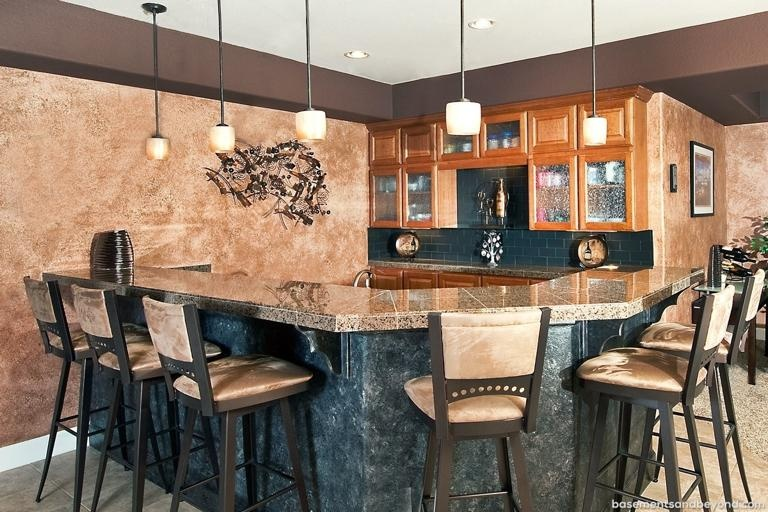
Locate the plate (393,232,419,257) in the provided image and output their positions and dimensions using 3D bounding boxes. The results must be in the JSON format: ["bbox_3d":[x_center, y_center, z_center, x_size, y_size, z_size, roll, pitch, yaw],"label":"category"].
[{"bbox_3d":[0.260,-0.150,7.166,0.291,0.323,0.293,2,10,12],"label":"plate"}]

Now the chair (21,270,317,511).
[{"bbox_3d":[-1.372,0.742,3.922,1.414,2.156,1.067,-2,4,-43],"label":"chair"}]

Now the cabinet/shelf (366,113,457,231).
[{"bbox_3d":[0.358,-1.003,6.677,1.274,1.543,0.713,3,6,31],"label":"cabinet/shelf"}]

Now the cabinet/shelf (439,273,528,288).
[{"bbox_3d":[1.037,0.261,6.113,1.079,0.158,0.166,-1,4,31],"label":"cabinet/shelf"}]

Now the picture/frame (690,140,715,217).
[{"bbox_3d":[3.583,-0.875,6.496,0.062,0.782,0.979,-2,0,41],"label":"picture/frame"}]

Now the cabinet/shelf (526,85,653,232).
[{"bbox_3d":[2.040,-0.970,5.561,1.518,1.658,0.626,0,1,37],"label":"cabinet/shelf"}]

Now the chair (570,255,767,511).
[{"bbox_3d":[1.842,0.871,3.711,0.903,1.926,1.715,1,2,44],"label":"chair"}]
